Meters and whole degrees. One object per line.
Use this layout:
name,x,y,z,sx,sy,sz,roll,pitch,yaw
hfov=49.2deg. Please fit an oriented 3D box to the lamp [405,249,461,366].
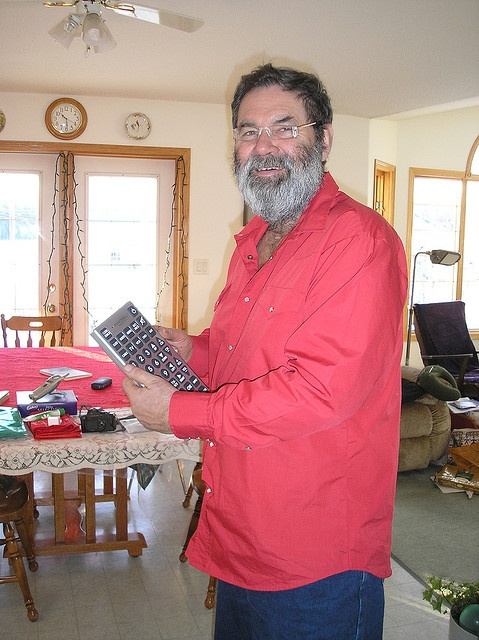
lamp,1.735,-0.072,4.750,0.415,1.141,1.451,4,6,19

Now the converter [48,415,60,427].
converter,-0.516,0.280,1.454,0.035,0.021,0.027,0,6,-19

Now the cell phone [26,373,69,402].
cell phone,-0.600,0.208,1.619,0.068,0.020,0.068,-36,0,7

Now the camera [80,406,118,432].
camera,-0.415,0.280,1.539,0.133,0.097,0.063,0,-6,-19

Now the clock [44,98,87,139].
clock,-1.233,-1.443,3.687,0.319,0.295,0.042,0,6,-7
